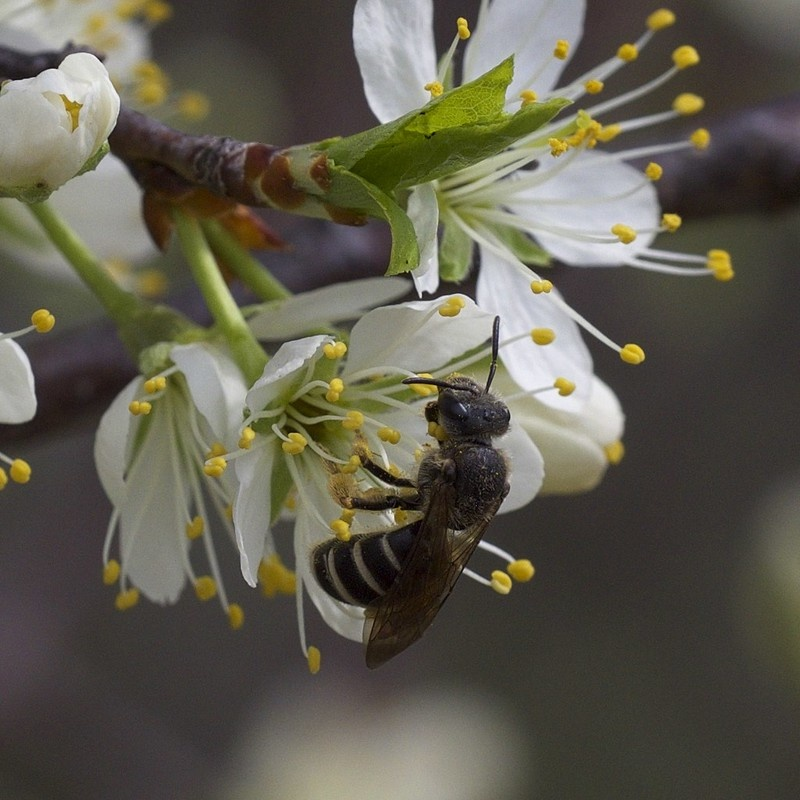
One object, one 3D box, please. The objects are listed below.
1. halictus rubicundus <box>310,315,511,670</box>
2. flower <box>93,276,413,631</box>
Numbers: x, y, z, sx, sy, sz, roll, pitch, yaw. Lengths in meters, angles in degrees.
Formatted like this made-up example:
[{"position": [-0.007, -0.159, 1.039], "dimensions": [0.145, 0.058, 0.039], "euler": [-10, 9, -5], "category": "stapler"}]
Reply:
[{"position": [0.002, 0.068, 1.019], "dimensions": [0.089, 0.213, 0.270], "euler": [16, 76, 36], "category": "halictus rubicundus"}, {"position": [-0.104, 0.027, 1.070], "dimensions": [0.326, 0.288, 0.181], "euler": [-8, 0, 1], "category": "flower"}]
